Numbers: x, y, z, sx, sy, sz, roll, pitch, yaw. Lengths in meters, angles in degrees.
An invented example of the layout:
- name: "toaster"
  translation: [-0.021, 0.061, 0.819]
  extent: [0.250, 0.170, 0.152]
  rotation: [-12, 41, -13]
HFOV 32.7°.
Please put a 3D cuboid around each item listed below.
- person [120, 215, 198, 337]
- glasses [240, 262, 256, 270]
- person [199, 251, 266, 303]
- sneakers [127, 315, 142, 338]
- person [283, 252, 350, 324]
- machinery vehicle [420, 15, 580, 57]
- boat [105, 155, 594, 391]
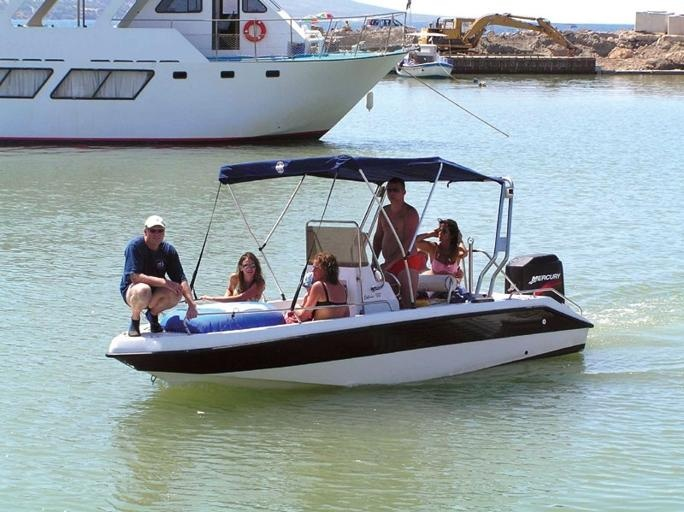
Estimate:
- name: "person"
  translation: [-2.403, 0.264, 15.310]
  extent: [0.955, 1.562, 0.513]
  rotation: [-1, 8, -9]
- name: "glasses"
  translation: [-1.288, 0.147, 15.780]
  extent: [0.126, 0.097, 0.037]
  rotation: [-1, 10, 13]
- name: "person"
  translation: [-1.346, 0.426, 15.631]
  extent: [0.622, 0.693, 1.162]
  rotation: [4, 10, 7]
- name: "sneakers"
  translation: [-2.710, 0.912, 15.276]
  extent: [0.164, 0.276, 0.225]
  rotation: [-1, 7, -10]
- name: "person"
  translation: [-0.318, 0.438, 15.492]
  extent: [0.827, 0.923, 0.472]
  rotation: [0, 8, -3]
- name: "machinery vehicle"
  translation: [9.667, -14.812, 76.976]
  extent: [9.203, 3.176, 15.117]
  rotation: [1, 6, 4]
- name: "boat"
  translation: [0.080, 0.336, 16.914]
  extent: [6.770, 2.416, 3.315]
  rotation: [-6, 9, -18]
